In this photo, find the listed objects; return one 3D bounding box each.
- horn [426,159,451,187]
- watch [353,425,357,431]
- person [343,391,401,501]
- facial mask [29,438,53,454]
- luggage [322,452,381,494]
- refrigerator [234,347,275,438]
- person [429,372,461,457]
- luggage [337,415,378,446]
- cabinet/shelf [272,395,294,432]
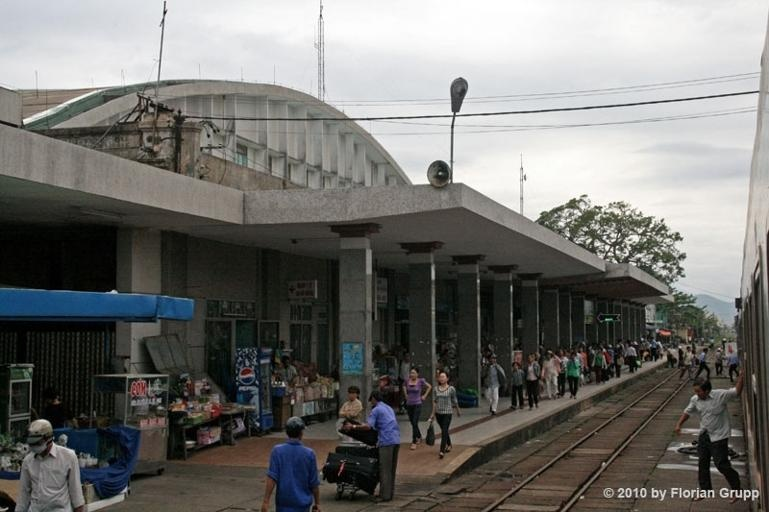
[{"bbox_3d":[1.386,-2.072,21.664,0.582,0.528,0.904,6,2,3],"label":"horn"},{"bbox_3d":[-0.677,3.767,18.682,0.097,0.067,0.096,2,0,-17],"label":"watch"},{"bbox_3d":[-0.244,4.034,18.561,0.965,2.584,1.053,0,-2,1],"label":"person"},{"bbox_3d":[-5.482,3.041,13.589,0.215,0.146,0.291,-3,-12,4],"label":"facial mask"},{"bbox_3d":[-0.754,4.753,18.561,1.235,0.633,0.347,6,3,0],"label":"luggage"},{"bbox_3d":[-3.701,3.875,24.247,0.933,2.408,0.967,-2,1,-1],"label":"refrigerator"},{"bbox_3d":[1.512,3.995,21.609,0.606,2.110,1.007,0,3,21],"label":"person"},{"bbox_3d":[-0.610,3.918,18.782,0.776,0.296,0.451,27,-6,11],"label":"luggage"},{"bbox_3d":[-3.090,4.557,24.867,0.503,0.895,0.943,-1,-5,9],"label":"cabinet/shelf"}]
